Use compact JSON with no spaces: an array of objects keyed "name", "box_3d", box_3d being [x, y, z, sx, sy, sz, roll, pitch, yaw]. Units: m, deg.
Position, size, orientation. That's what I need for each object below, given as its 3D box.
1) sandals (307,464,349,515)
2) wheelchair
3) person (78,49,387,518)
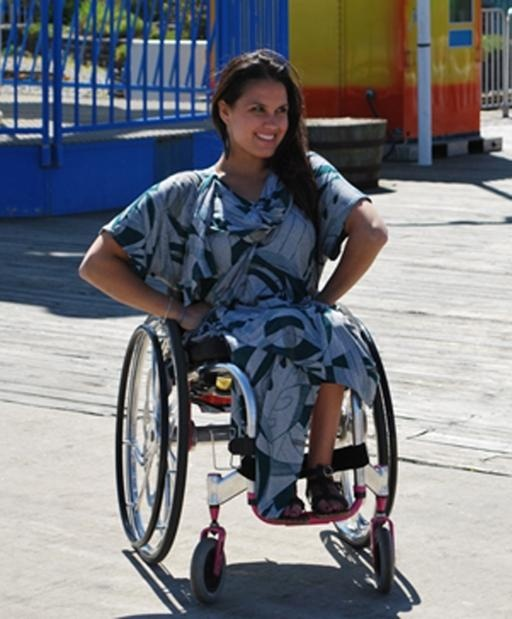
[{"name":"sandals","box_3d":[0.182,0.452,3.188,0.106,0.094,0.171,0,11,2]},{"name":"wheelchair","box_3d":[-0.034,0.386,3.431,0.907,0.754,0.830,3,11,18]},{"name":"person","box_3d":[-0.042,-0.102,3.403,0.521,1.440,0.809,0,4,0]}]
